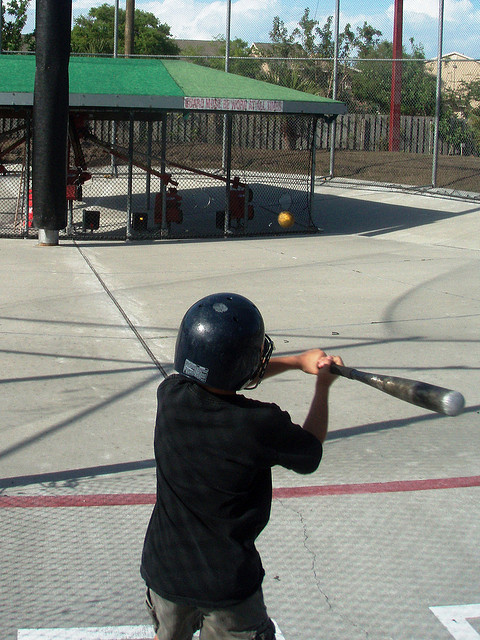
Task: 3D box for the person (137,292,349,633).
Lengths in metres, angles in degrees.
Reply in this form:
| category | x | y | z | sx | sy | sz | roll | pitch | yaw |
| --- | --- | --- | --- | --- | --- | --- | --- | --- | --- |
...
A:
| category | x | y | z | sx | sy | sz | roll | pitch | yaw |
| --- | --- | --- | --- | --- | --- | --- | --- | --- | --- |
| person | -0.035 | 0.365 | 1.564 | 0.404 | 0.829 | 0.241 | 5 | 10 | 11 |

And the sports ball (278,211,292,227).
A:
| category | x | y | z | sx | sy | sz | roll | pitch | yaw |
| --- | --- | --- | --- | --- | --- | --- | --- | --- | --- |
| sports ball | 0.901 | -1.992 | 13.474 | 0.249 | 0.273 | 0.274 | 3 | 9 | 2 |
